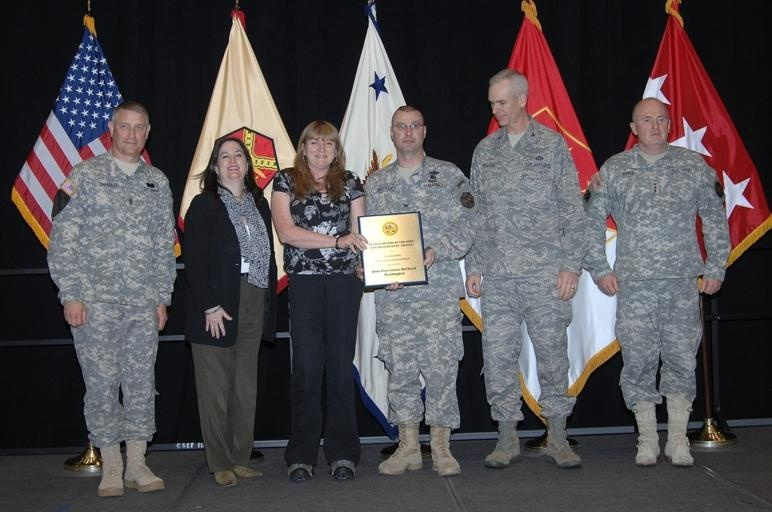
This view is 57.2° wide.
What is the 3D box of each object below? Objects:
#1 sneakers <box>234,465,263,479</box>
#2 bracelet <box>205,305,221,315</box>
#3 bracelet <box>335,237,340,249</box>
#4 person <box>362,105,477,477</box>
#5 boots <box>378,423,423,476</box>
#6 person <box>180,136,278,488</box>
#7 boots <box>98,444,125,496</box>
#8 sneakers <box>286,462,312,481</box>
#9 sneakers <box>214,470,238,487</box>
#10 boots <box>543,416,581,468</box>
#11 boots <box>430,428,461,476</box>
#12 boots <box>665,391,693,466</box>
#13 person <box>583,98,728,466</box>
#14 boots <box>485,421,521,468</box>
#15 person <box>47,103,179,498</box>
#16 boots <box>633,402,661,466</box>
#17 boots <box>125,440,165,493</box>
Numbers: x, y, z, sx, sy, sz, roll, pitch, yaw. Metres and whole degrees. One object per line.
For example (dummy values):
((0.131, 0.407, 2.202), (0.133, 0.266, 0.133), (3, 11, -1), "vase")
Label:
((-0.997, 1.570, 5.152), (0.174, 0.061, 0.082), (-2, -1, 14), "sneakers")
((-1.189, 0.373, 4.897), (0.099, 0.049, 0.026), (-4, 2, -18), "bracelet")
((-0.339, -0.091, 4.981), (0.032, 0.066, 0.038), (-4, 2, -5), "bracelet")
((0.278, 0.239, 5.153), (0.814, 1.877, 0.372), (-4, 2, 5), "person")
((0.087, 1.394, 5.162), (0.441, 0.361, 0.186), (1, -7, -42), "boots")
((-1.087, 0.384, 5.044), (0.642, 2.091, 0.287), (-4, 2, -10), "person")
((-1.903, 1.488, 4.928), (0.159, 0.305, 0.335), (-6, -1, -7), "boots")
((-0.604, 1.521, 5.003), (0.154, 0.069, 0.202), (1, -3, -4), "sneakers")
((-1.118, 1.556, 4.953), (0.150, 0.047, 0.097), (3, 21, -6), "sneakers")
((1.325, 1.372, 5.239), (0.201, 0.353, 0.397), (0, 0, -16), "boots")
((0.420, 1.394, 5.120), (0.162, 0.332, 0.370), (0, 6, -13), "boots")
((2.164, 1.268, 5.243), (0.197, 0.495, 0.325), (-3, 2, 20), "boots")
((2.037, 0.169, 5.282), (1.038, 2.691, 0.463), (-4, 2, 13), "person")
((0.856, 1.391, 5.258), (0.186, 0.345, 0.399), (0, 2, 42), "boots")
((-1.882, 0.290, 4.959), (0.833, 2.545, 0.264), (-5, 2, -17), "person")
((1.931, 1.299, 5.250), (0.160, 0.455, 0.259), (-3, 2, 22), "boots")
((-1.700, 1.492, 4.968), (0.296, 0.263, 0.136), (0, -2, 32), "boots")
